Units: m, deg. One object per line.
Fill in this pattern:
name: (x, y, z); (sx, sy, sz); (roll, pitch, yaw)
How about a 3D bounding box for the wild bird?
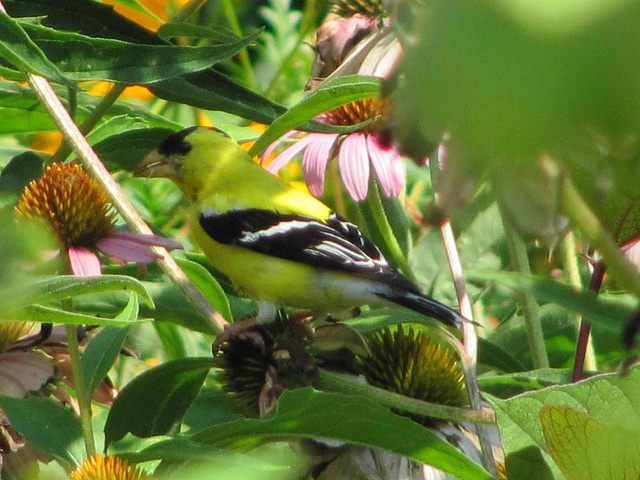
wild bird: (-0.035, -0.003, 1.685); (0.661, 0.329, 0.216); (9, 12, 2)
